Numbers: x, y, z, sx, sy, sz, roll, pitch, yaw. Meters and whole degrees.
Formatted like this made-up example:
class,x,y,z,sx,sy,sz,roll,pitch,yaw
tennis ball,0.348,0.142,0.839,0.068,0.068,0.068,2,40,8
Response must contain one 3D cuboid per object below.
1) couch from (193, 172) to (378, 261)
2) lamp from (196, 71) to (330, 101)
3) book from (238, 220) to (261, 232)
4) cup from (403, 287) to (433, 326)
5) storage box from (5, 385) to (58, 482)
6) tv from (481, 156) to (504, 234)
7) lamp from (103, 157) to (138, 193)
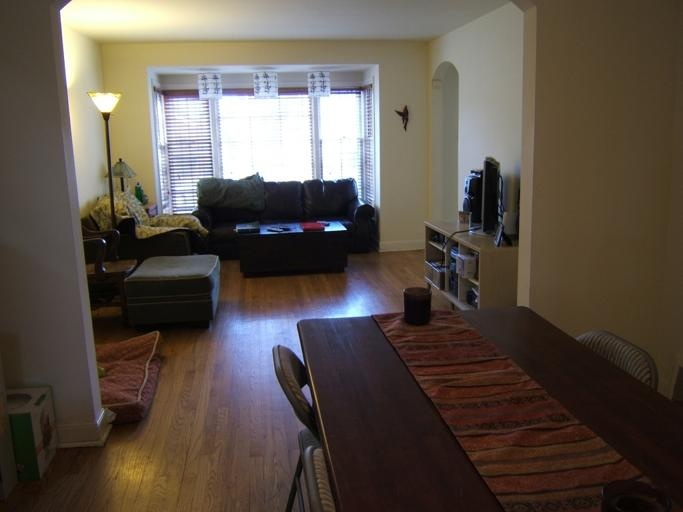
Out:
class,x,y,z,sx,sy,sz,roll,pitch,yaw
couch,-0.797,-0.513,6.878,2.280,1.140,1.047,-3,12,-7
lamp,-1.031,-2.283,6.833,1.730,0.350,0.239,-4,14,-11
book,-1.070,-0.317,5.865,0.184,0.049,0.193,-1,13,-3
cup,0.326,0.211,2.191,0.132,0.158,0.136,-1,15,0
storage box,-1.585,0.902,2.603,0.203,0.383,0.268,-6,15,-22
tv,1.332,-0.532,4.542,0.188,0.700,0.148,7,-13,-12
lamp,-2.572,-0.856,5.968,0.343,0.541,0.340,-3,0,35
